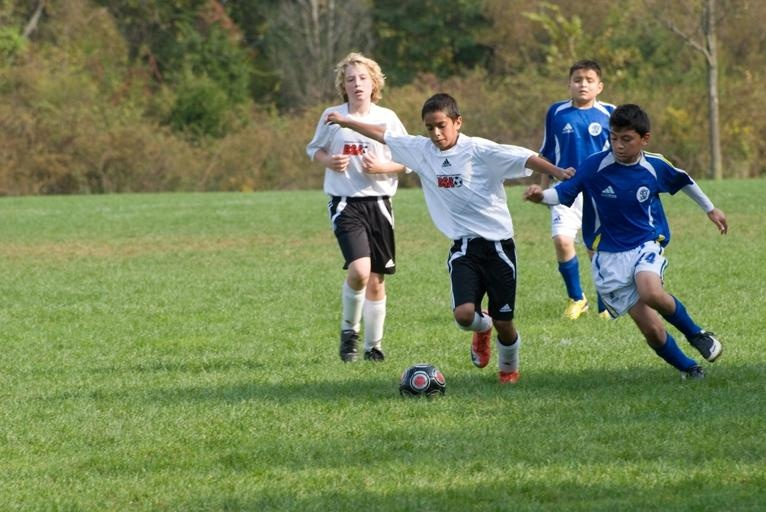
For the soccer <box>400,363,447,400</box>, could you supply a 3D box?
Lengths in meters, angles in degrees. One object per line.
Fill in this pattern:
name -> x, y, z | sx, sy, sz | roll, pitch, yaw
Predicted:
soccer -> 0.263, 0.803, 8.300 | 0.218, 0.214, 0.221 | 0, 7, 6
